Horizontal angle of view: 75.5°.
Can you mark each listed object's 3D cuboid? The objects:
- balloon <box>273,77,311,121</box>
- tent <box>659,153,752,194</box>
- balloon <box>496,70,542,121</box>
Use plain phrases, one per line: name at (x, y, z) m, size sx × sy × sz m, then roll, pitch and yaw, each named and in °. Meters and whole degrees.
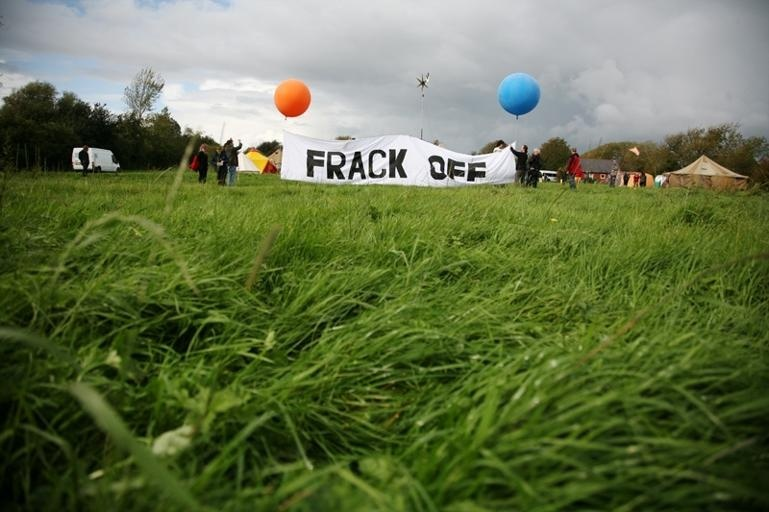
balloon at (-2.206, -3.739, 11.917) m, size 0.632 × 0.851 × 0.900 m, roll -4°, pitch 11°, yaw -34°
tent at (3.673, -0.963, 5.753) m, size 1.134 × 0.407 × 1.190 m, roll -2°, pitch 11°, yaw -20°
balloon at (3.161, -3.799, 11.682) m, size 0.587 × 0.836 × 0.824 m, roll -5°, pitch 12°, yaw -42°
